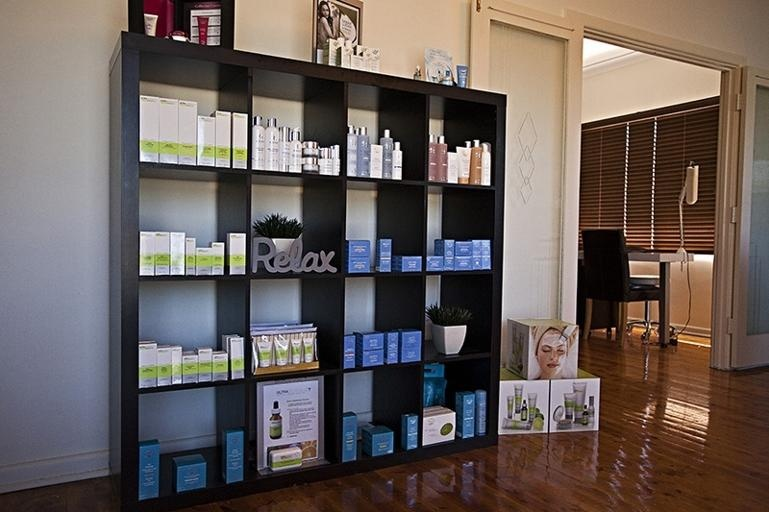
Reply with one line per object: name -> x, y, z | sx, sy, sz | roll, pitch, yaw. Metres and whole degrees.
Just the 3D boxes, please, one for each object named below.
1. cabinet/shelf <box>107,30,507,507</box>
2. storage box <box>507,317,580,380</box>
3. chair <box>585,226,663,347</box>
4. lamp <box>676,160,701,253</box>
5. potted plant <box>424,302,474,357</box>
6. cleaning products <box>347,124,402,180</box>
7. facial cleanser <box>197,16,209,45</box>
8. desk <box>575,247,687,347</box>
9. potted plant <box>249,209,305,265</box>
cabinet/shelf -> -0.523, 0.115, 3.571 | 2.845, 2.587, 0.716 | -3, 7, -29
storage box -> 1.141, 0.644, 4.327 | 0.429, 0.396, 0.412 | 0, 1, -15
chair -> 2.655, 0.285, 6.646 | 0.674, 1.099, 0.678 | -1, 1, -19
lamp -> 3.565, -0.579, 6.922 | 0.215, 1.048, 0.418 | 5, 7, 26
potted plant -> 0.378, 0.487, 4.023 | 0.340, 0.349, 0.302 | 0, -1, -29
cleaning products -> -0.060, -0.643, 3.704 | 0.437, 0.355, 0.098 | -1, 2, -41
facial cleanser -> -1.040, -1.300, 3.393 | 0.058, 0.155, 0.032 | 0, 6, -16
desk -> 2.734, 0.251, 6.719 | 0.475, 0.766, 0.928 | 0, 11, -43
potted plant -> -0.629, -0.083, 3.498 | 0.357, 0.376, 0.292 | 0, -2, -28
